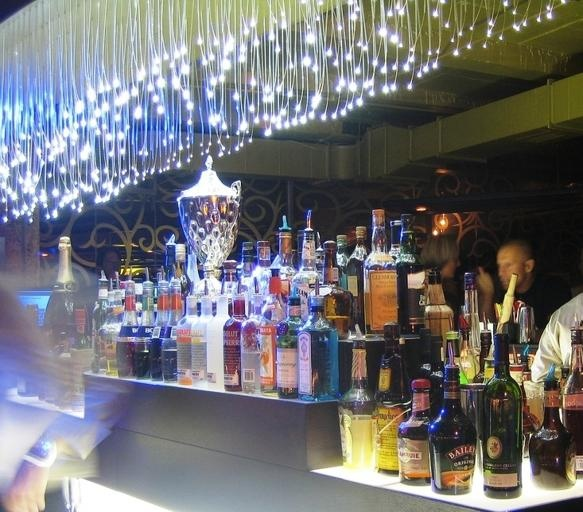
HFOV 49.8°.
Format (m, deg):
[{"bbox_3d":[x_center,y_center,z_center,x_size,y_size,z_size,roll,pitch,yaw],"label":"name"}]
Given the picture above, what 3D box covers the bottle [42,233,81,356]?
[{"bbox_3d":[-0.998,0.143,2.814,0.117,0.537,0.126,8,35,-5],"label":"bottle"}]
